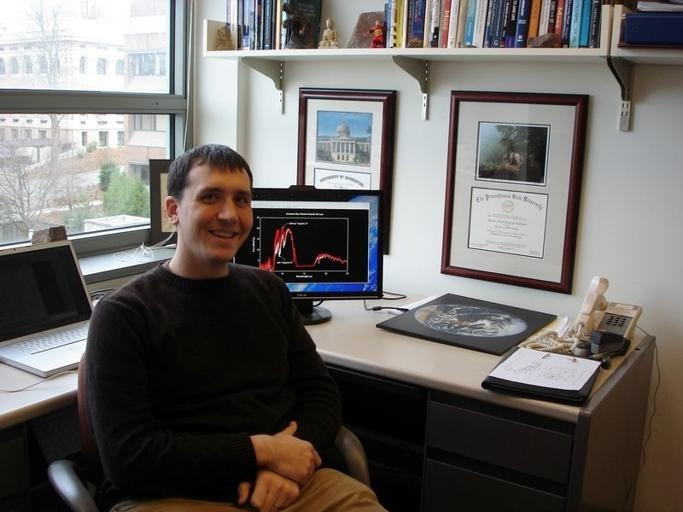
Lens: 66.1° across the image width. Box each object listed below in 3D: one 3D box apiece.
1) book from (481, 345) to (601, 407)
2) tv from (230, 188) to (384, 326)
[{"bbox_3d":[0.632,0.373,1.639,0.278,0.036,0.354,11,17,33],"label":"book"},{"bbox_3d":[-0.132,-0.017,1.941,0.505,0.482,0.214,0,2,-1],"label":"tv"}]
